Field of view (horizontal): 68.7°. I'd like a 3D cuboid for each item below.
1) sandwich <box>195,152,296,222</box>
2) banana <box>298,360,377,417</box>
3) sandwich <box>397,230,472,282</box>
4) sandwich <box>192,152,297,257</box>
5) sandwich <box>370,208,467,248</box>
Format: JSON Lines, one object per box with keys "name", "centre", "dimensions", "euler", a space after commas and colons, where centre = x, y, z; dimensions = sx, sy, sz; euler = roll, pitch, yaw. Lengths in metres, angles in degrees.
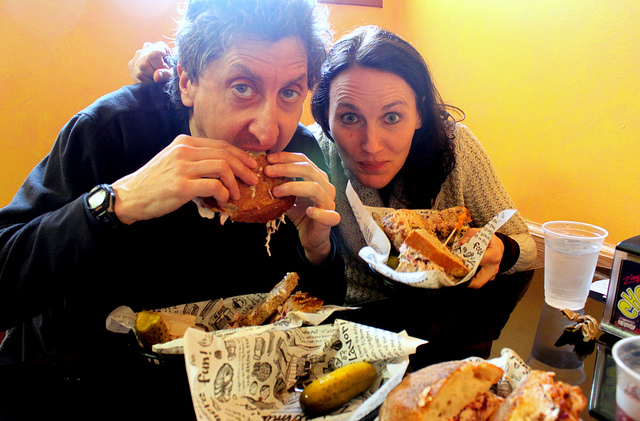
{"name": "sandwich", "centre": [-0.331, -0.064, 2.397], "dimensions": [0.399, 0.115, 0.359], "euler": [32, 47, 29]}
{"name": "banana", "centre": [0.082, 0.736, 2.037], "dimensions": [0.344, 0.147, 0.131], "euler": [-22, -5, -17]}
{"name": "sandwich", "centre": [0.598, 0.193, 2.470], "dimensions": [0.323, 0.085, 0.308], "euler": [34, 13, -13]}
{"name": "sandwich", "centre": [-0.386, -0.115, 2.427], "dimensions": [0.530, 0.365, 0.162], "euler": [-4, 11, -15]}
{"name": "sandwich", "centre": [0.546, 0.123, 2.683], "dimensions": [0.316, 0.093, 0.352], "euler": [-10, 3, -30]}
